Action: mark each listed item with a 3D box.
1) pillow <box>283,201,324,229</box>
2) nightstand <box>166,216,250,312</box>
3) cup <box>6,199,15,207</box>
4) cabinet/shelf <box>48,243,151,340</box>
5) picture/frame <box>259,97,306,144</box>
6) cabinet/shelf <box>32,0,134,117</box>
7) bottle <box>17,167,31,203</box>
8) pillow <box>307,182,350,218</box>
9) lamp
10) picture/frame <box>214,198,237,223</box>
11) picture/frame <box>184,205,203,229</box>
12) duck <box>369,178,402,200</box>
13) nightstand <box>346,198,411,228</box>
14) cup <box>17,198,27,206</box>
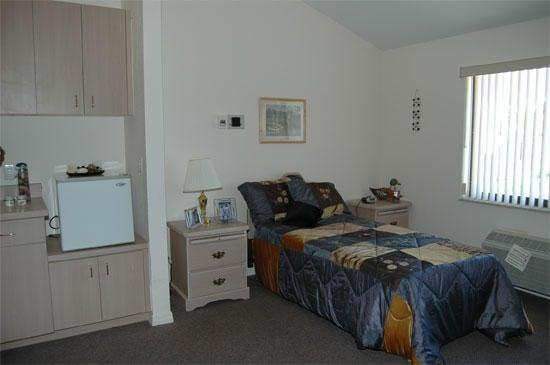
[{"bbox_3d":[0.334,0.400,4.687,0.327,0.109,0.361,3,50,10],"label":"pillow"},{"bbox_3d":[-0.781,0.839,4.758,1.026,1.182,0.903,-4,4,-31],"label":"nightstand"},{"bbox_3d":[-2.725,0.202,3.786,0.069,0.056,0.073,0,0,0],"label":"cup"},{"bbox_3d":[-1.977,1.128,4.175,0.936,0.866,0.665,-4,4,-25],"label":"cabinet/shelf"},{"bbox_3d":[0.067,-0.905,5.283,0.661,0.583,0.052,-2,1,-30],"label":"picture/frame"},{"bbox_3d":[-2.052,-1.314,3.883,1.120,1.387,0.523,-3,6,-30],"label":"cabinet/shelf"},{"bbox_3d":[-2.713,-0.003,3.975,0.103,0.410,0.151,-8,10,-38],"label":"bottle"},{"bbox_3d":[0.718,0.189,5.191,0.502,0.510,0.149,-10,-21,-43],"label":"pillow"},{"bbox_3d":[-0.913,0.090,4.566,0.432,0.782,0.498,-4,8,-14],"label":"lamp"},{"bbox_3d":[-0.661,0.329,4.636,0.129,0.237,0.246,1,-5,12],"label":"picture/frame"},{"bbox_3d":[-0.974,0.417,4.403,0.032,0.235,0.224,-11,1,39],"label":"picture/frame"},{"bbox_3d":[1.770,0.099,5.979,0.445,0.323,0.309,1,6,1],"label":"duck"},{"bbox_3d":[1.614,0.418,5.784,0.660,0.696,0.509,-4,7,-35],"label":"nightstand"},{"bbox_3d":[-2.652,0.197,3.872,0.072,0.055,0.073,1,7,0],"label":"cup"}]
